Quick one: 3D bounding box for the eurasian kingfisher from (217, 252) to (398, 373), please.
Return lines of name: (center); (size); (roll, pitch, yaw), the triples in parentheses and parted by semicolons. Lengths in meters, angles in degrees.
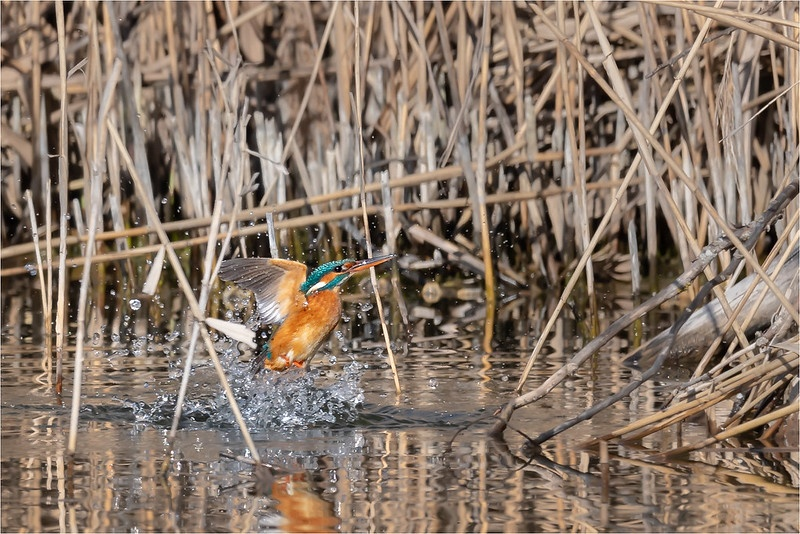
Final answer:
eurasian kingfisher: (-0.517, 0.211, 6.555); (0.666, 0.851, 0.536); (-3, 83, 23)
